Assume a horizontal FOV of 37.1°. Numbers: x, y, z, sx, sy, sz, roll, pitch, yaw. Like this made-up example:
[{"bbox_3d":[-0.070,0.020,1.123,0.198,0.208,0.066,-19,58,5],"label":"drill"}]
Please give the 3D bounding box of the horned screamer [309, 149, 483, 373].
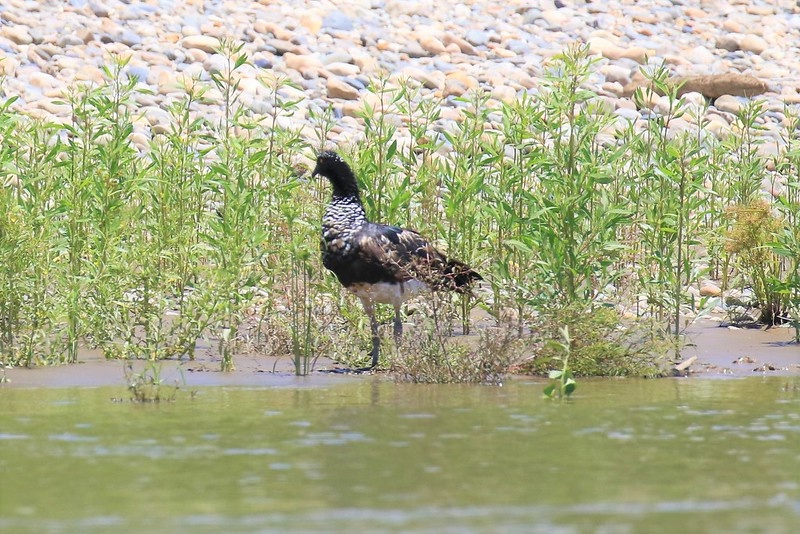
[{"bbox_3d":[-0.099,-0.209,10.051,1.295,1.608,0.729,-1,-2,0],"label":"horned screamer"}]
